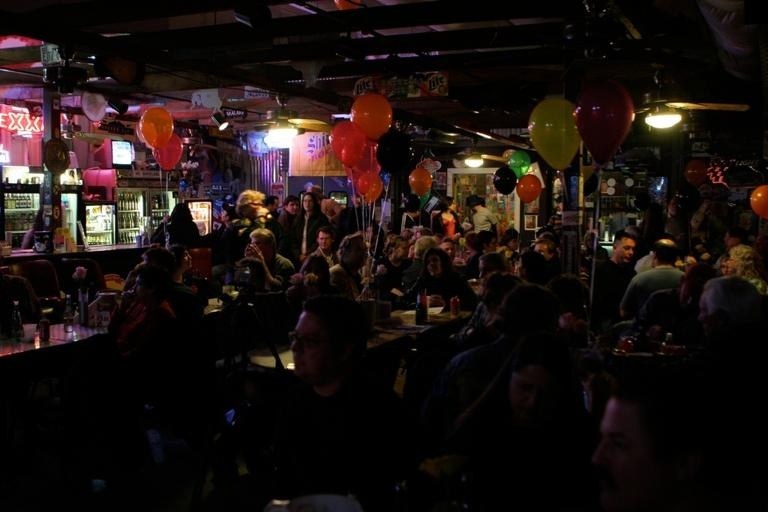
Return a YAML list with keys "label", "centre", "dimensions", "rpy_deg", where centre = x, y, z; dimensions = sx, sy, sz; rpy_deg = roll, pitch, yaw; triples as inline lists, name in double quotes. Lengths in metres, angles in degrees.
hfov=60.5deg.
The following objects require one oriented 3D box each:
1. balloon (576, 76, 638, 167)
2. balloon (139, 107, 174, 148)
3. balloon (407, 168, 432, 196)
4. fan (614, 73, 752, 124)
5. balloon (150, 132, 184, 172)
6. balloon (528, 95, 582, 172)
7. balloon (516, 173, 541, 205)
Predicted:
- label: "balloon"
  centre: [2.091, -1.297, 6.281]
  dimensions: [0.522, 0.797, 0.309]
  rpy_deg: [3, 4, 7]
- label: "balloon"
  centre: [-3.205, -1.819, 9.203]
  dimensions: [0.415, 0.584, 0.507]
  rpy_deg: [1, 4, -20]
- label: "balloon"
  centre: [0.629, -1.278, 11.354]
  dimensions: [0.462, 0.567, 0.464]
  rpy_deg: [0, -5, 6]
- label: "fan"
  centre: [3.517, -1.803, 7.773]
  dimensions: [0.996, 0.486, 1.087]
  rpy_deg: [1, 1, 37]
- label: "balloon"
  centre: [-3.250, -1.553, 9.890]
  dimensions: [0.545, 0.508, 0.504]
  rpy_deg: [3, -13, -7]
- label: "balloon"
  centre: [1.799, -1.309, 6.929]
  dimensions: [0.523, 0.749, 0.370]
  rpy_deg: [3, 4, 14]
- label: "balloon"
  centre: [2.304, -1.108, 10.925]
  dimensions: [0.442, 0.528, 0.459]
  rpy_deg: [-3, 12, -13]
